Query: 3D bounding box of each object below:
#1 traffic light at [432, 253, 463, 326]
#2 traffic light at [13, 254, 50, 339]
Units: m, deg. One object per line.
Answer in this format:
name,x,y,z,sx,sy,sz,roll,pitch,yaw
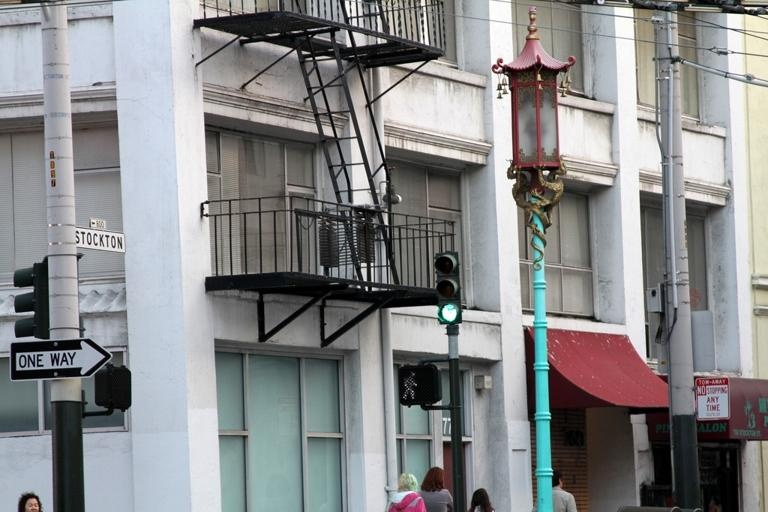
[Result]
traffic light,1.037,0.531,33.330,0.405,1.243,0.376,-1,10,14
traffic light,-5.437,0.707,30.868,0.570,1.177,0.469,-3,-8,-2
